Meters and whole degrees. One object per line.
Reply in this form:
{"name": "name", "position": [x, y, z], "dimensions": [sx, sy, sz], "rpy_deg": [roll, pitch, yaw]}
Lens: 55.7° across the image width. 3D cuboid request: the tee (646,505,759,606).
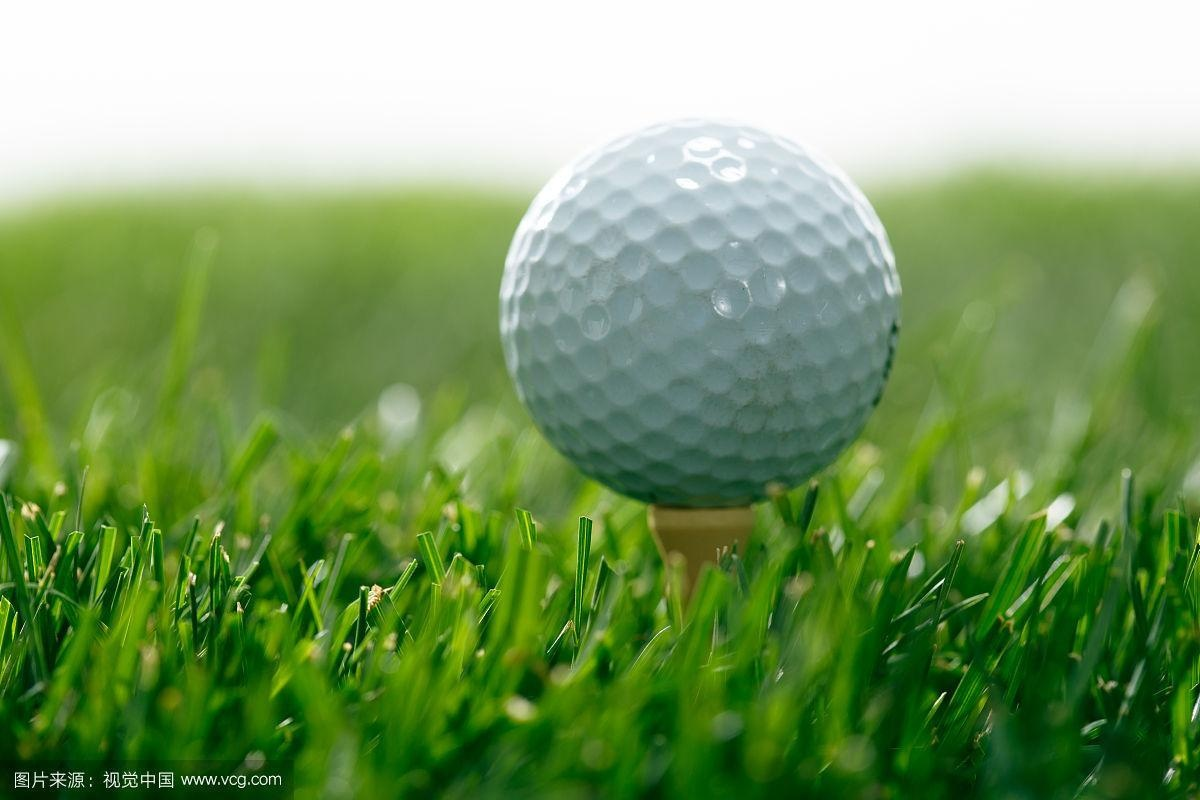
{"name": "tee", "position": [0.173, 0.247, 1.922], "dimensions": [0.142, 0.151, 0.154], "rpy_deg": [2, 4, 23]}
